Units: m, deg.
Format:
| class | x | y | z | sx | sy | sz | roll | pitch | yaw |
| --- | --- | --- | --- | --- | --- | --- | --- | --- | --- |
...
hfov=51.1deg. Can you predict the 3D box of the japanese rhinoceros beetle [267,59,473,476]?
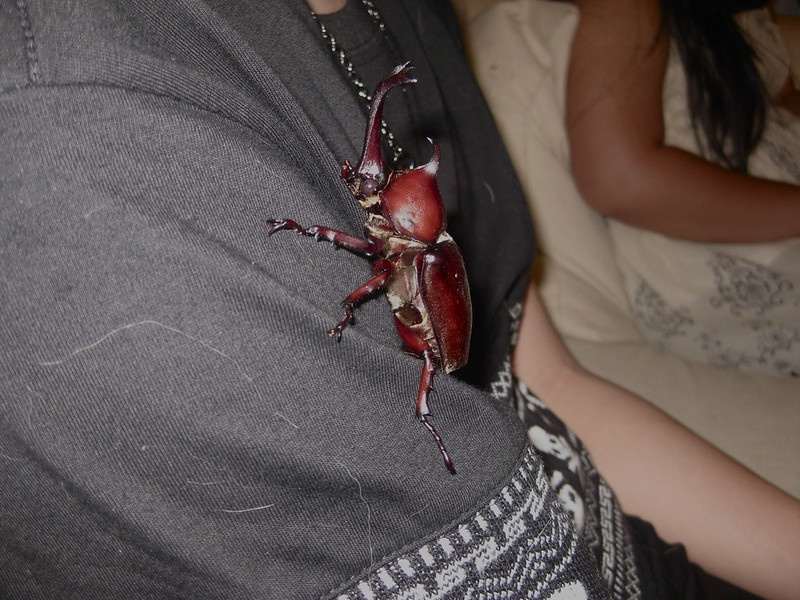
| class | x | y | z | sx | sy | sz | roll | pitch | yaw |
| --- | --- | --- | --- | --- | --- | --- | --- | --- | --- |
| japanese rhinoceros beetle | 0.011 | -0.001 | 0.959 | 0.137 | 0.400 | 0.320 | -16 | 26 | 27 |
